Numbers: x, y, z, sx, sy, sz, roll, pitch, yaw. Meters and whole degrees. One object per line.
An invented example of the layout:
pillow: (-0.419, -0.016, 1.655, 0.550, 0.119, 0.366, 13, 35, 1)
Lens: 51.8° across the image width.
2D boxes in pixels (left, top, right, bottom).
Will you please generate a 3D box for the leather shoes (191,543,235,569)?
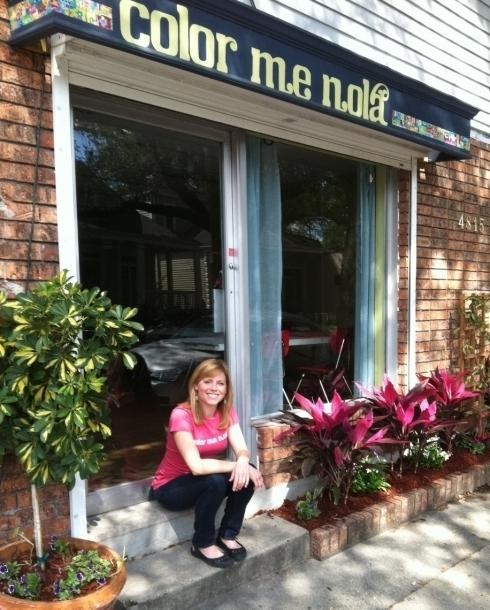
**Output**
leather shoes: (-0.163, 1.223, 2.494, 0.201, 0.086, 0.078, 1, -8, 37)

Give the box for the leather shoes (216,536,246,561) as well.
leather shoes: (-0.064, 1.221, 2.535, 0.074, 0.052, 0.134, 12, -3, -38)

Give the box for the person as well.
person: (-0.169, 0.813, 2.633, 0.477, 0.963, 0.635, 7, 10, -30)

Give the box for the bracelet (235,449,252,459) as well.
bracelet: (-0.007, 0.787, 2.650, 0.060, 0.019, 0.044, 22, -10, -19)

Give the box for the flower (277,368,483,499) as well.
flower: (1.087, 0.984, 3.881, 1.623, 0.745, 0.782, -5, 1, -43)
